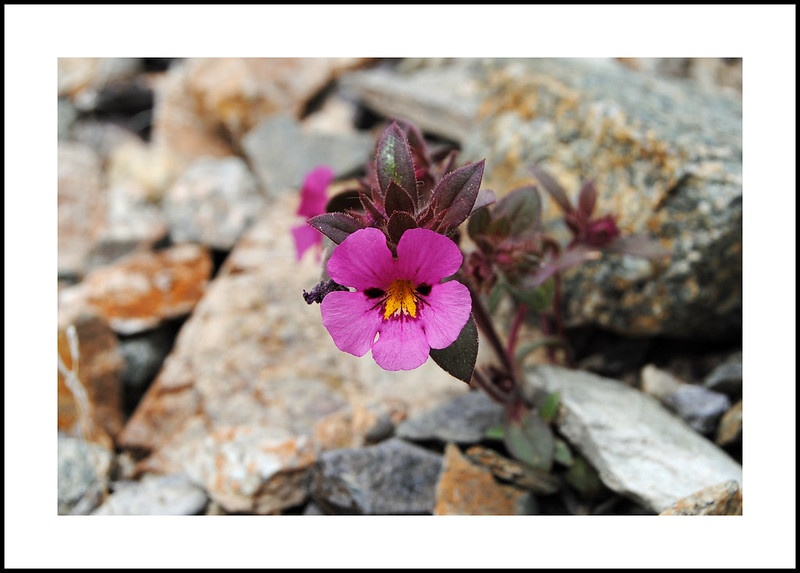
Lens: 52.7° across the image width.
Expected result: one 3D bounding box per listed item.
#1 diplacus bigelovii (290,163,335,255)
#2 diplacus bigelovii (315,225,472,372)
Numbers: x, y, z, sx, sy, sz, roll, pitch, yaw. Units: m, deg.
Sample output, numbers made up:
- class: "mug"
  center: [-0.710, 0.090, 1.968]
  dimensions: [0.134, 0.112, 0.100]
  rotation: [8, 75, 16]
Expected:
- class: "diplacus bigelovii"
  center: [-0.282, -0.233, 2.541]
  dimensions: [0.136, 0.042, 0.286]
  rotation: [37, 112, 46]
- class: "diplacus bigelovii"
  center: [-0.013, 0.035, 2.107]
  dimensions: [0.384, 0.112, 0.359]
  rotation: [1, 83, 1]
